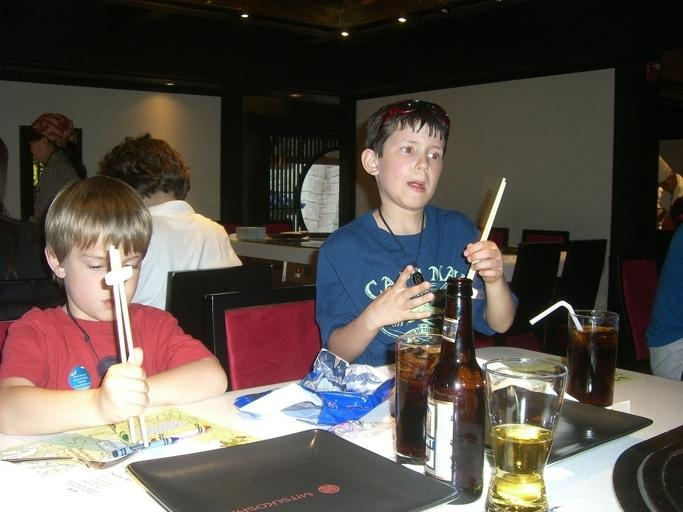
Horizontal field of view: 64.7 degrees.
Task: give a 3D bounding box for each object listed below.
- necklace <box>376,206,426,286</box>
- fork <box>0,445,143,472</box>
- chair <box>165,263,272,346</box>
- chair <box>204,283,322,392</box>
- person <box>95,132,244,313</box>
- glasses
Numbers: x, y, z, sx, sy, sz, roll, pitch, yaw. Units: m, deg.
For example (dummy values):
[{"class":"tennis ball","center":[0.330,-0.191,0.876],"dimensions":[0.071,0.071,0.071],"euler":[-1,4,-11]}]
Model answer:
[{"class":"necklace","center":[0.198,-0.055,1.675],"dimensions":[0.086,0.295,0.051],"euler":[-16,-15,5]},{"class":"fork","center":[-0.471,0.355,0.942],"dimensions":[0.154,0.023,0.027],"euler":[0,13,-19]},{"class":"chair","center":[-0.410,0.162,1.775],"dimensions":[0.202,0.379,0.198],"euler":[-9,24,-33]},{"class":"chair","center":[-0.217,0.198,1.699],"dimensions":[0.318,0.480,0.258],"euler":[-3,1,-28]},{"class":"person","center":[-0.836,-0.038,2.528],"dimensions":[0.490,1.008,0.693],"euler":[-1,13,13]},{"class":"glasses","center":[0.195,-0.413,1.696],"dimensions":[0.161,0.112,0.205],"euler":[0,2,-24]}]
